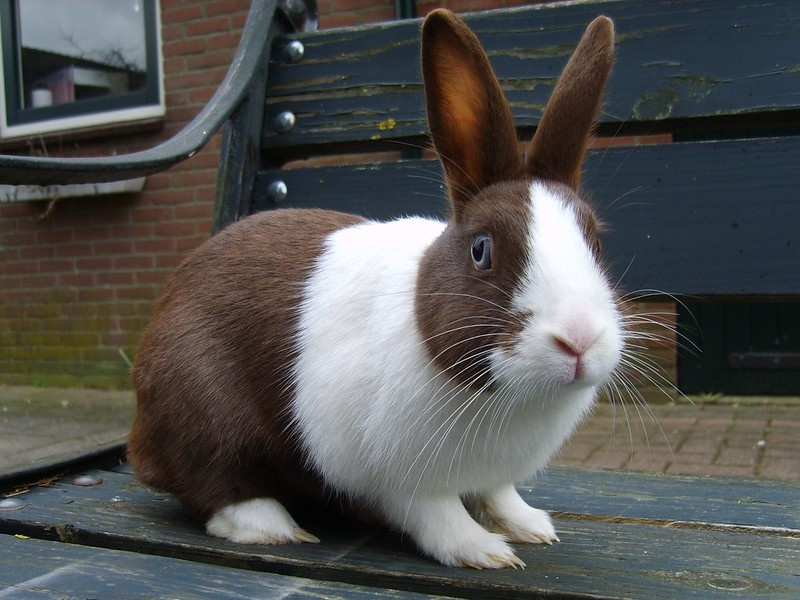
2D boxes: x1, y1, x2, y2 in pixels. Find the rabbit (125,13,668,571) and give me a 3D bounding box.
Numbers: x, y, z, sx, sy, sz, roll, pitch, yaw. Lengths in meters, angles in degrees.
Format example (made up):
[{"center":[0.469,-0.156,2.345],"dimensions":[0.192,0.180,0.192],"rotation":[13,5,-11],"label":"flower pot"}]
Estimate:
[{"center":[-0.070,-0.033,2.304],"dimensions":[1.357,1.263,0.858],"rotation":[5,6,37],"label":"rabbit"}]
